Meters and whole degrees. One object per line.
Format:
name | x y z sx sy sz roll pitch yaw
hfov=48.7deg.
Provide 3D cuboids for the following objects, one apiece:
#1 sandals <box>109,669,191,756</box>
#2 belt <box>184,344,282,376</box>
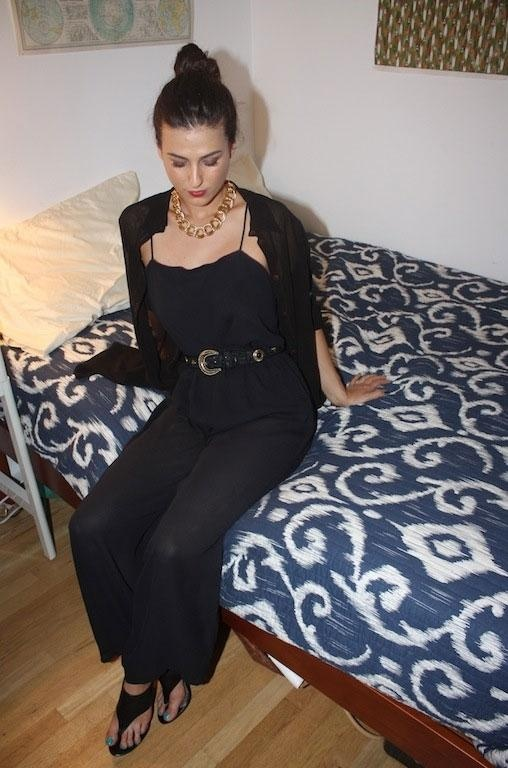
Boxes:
sandals | -0.220 0.672 1.239 0.083 0.083 0.232 12 30 31
belt | -0.046 -0.060 1.223 0.120 0.052 0.090 -11 7 10
